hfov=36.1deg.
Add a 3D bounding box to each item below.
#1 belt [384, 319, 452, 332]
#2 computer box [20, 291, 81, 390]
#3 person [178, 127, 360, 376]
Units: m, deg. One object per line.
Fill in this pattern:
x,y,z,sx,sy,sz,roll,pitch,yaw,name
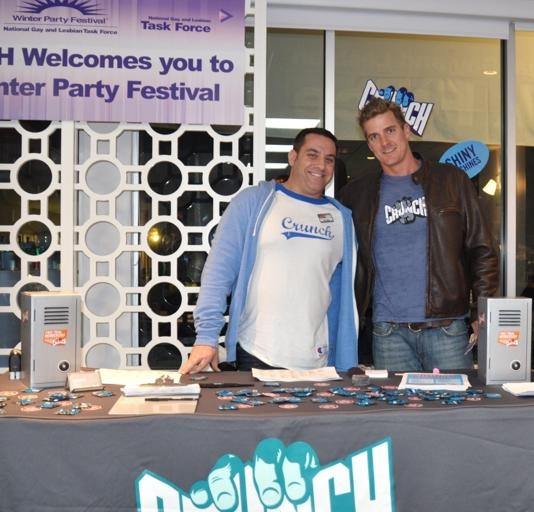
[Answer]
0.665,0.303,3.600,0.293,0.046,0.044,-1,-2,7,belt
-0.752,0.341,3.000,0.179,0.366,0.196,-2,-18,-2,computer box
0.019,-0.050,3.534,0.869,1.093,0.340,0,-2,-32,person
